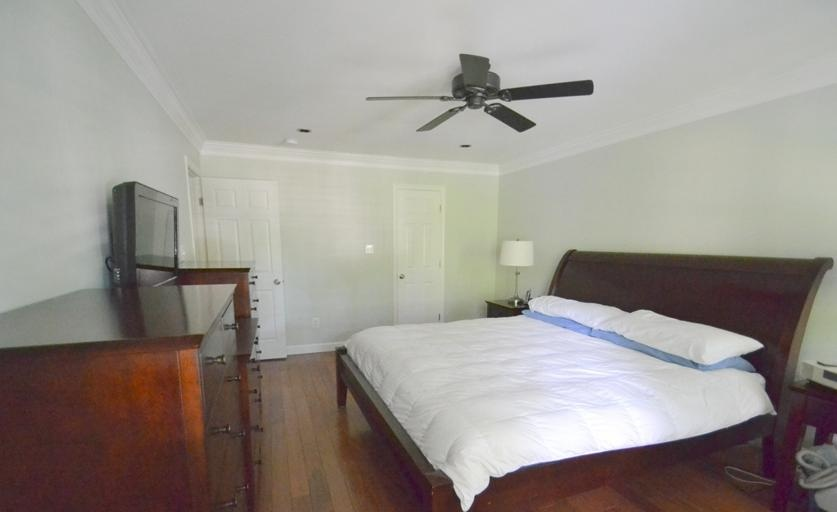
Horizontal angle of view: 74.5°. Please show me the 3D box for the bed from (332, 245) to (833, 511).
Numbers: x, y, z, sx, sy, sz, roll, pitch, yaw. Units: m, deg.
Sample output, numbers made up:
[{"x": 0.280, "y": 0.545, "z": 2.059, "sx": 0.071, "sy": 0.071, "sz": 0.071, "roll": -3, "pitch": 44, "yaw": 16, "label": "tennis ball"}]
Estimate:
[{"x": 1.266, "y": 0.659, "z": 4.263, "sx": 2.626, "sy": 1.349, "sz": 2.201, "roll": -1, "pitch": 7, "yaw": -20, "label": "bed"}]

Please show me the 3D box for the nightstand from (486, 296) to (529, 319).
[{"x": 1.045, "y": 0.552, "z": 6.204, "sx": 0.241, "sy": 0.329, "sz": 0.382, "roll": -3, "pitch": 8, "yaw": -21, "label": "nightstand"}]
